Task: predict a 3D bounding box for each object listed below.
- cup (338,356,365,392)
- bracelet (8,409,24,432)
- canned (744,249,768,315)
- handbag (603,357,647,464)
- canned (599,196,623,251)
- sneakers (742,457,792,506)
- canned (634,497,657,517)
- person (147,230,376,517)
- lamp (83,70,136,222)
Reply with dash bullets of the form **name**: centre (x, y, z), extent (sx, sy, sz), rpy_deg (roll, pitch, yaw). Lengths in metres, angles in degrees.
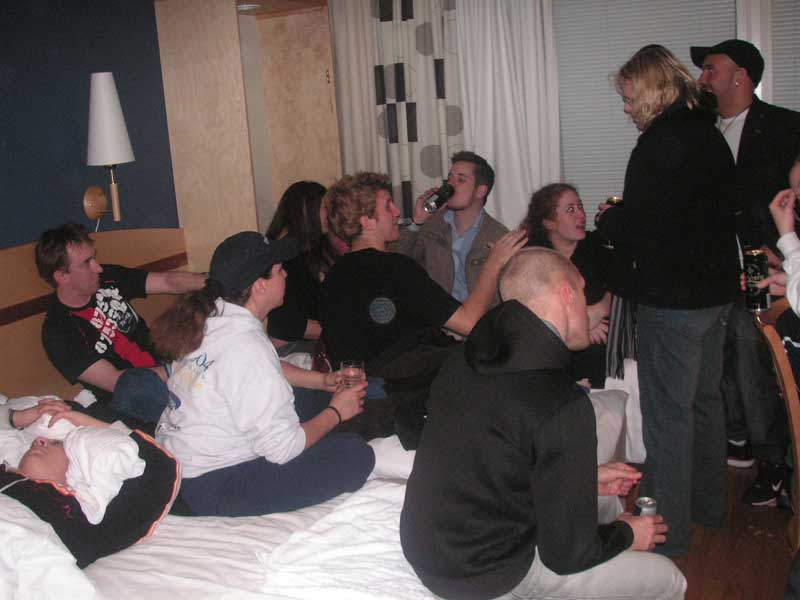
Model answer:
- **cup**: centre (-0.184, 0.283, 2.668), extent (0.095, 0.105, 0.097), rpy_deg (-1, -5, 0)
- **bracelet**: centre (-1.331, 0.421, 2.391), extent (0.048, 0.049, 0.037), rpy_deg (1, 26, 13)
- **canned**: centre (1.457, -0.084, 2.796), extent (0.161, 0.260, 0.068), rpy_deg (-7, 9, -29)
- **handbag**: centre (1.088, 0.537, 3.305), extent (0.166, 0.504, 0.230), rpy_deg (-3, 8, 1)
- **canned**: centre (0.885, -0.316, 2.907), extent (0.081, 0.232, 0.175), rpy_deg (-1, 19, 3)
- **sneakers**: centre (1.645, 0.854, 3.182), extent (0.290, 0.202, 0.099), rpy_deg (-2, 9, 16)
- **canned**: centre (0.833, 0.706, 2.325), extent (0.065, 0.057, 0.053), rpy_deg (35, -30, -10)
- **person**: centre (-0.487, 0.178, 2.761), extent (0.985, 1.041, 0.825), rpy_deg (-9, 24, -35)
- **lamp**: centre (-1.544, -0.819, 3.640), extent (0.224, 0.789, 0.380), rpy_deg (-6, 8, -23)
